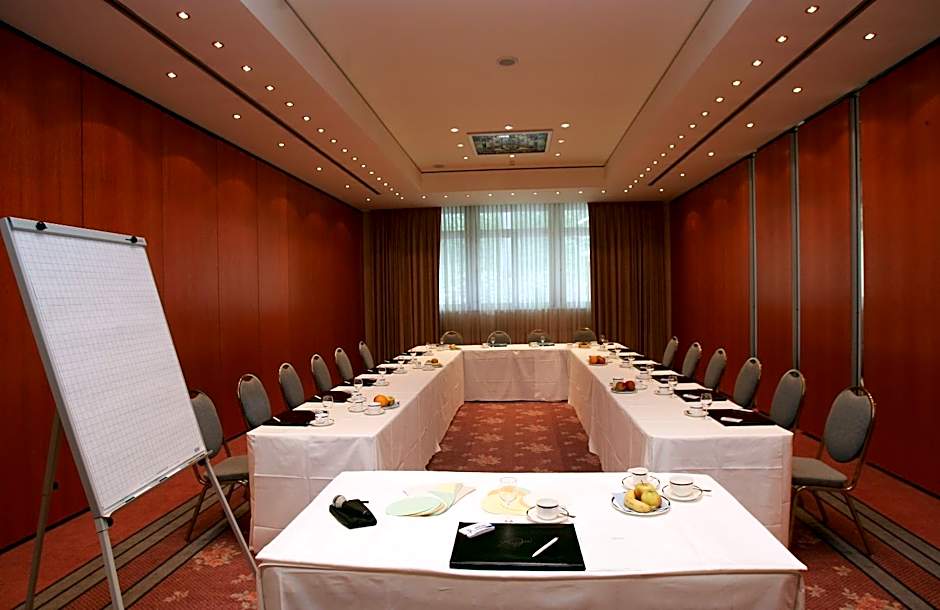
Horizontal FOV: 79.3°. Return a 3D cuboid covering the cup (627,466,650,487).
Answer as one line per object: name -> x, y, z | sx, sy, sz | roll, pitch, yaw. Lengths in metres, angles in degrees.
cup -> 1.032, 1.066, 3.531 | 0.137, 0.104, 0.107 | -3, 4, 0

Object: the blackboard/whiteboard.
blackboard/whiteboard -> -2.260, 0.345, 3.631 | 0.546, 1.769, 0.845 | 0, 5, 22

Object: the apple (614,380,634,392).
apple -> 1.493, 0.777, 5.525 | 0.123, 0.054, 0.123 | 0, 1, 0

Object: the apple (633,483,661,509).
apple -> 1.038, 1.122, 3.322 | 0.097, 0.070, 0.162 | 1, 4, -3

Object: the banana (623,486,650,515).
banana -> 0.972, 1.137, 3.320 | 0.101, 0.048, 0.183 | -2, 2, 0

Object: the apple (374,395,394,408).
apple -> -0.763, 0.859, 5.061 | 0.121, 0.047, 0.121 | 2, 0, 29

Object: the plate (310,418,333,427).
plate -> -1.188, 0.947, 4.579 | 0.179, 0.053, 0.129 | -3, 4, -13
